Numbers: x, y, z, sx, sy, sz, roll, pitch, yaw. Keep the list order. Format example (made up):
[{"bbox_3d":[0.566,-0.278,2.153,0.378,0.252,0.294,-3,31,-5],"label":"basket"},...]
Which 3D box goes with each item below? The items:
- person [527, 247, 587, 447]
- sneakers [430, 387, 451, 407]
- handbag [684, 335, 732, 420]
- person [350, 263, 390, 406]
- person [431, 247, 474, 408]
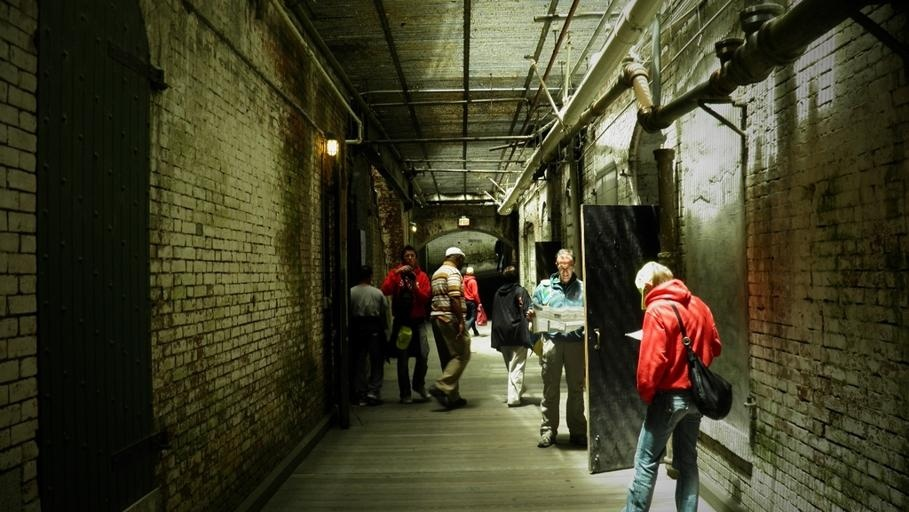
[{"bbox_3d":[1.198,1.056,7.987,0.695,2.215,0.607,2,7,23],"label":"person"},{"bbox_3d":[-0.182,1.893,9.579,0.092,0.272,0.193,-37,10,36],"label":"sneakers"},{"bbox_3d":[2.094,0.994,5.870,0.379,0.651,0.199,3,7,27],"label":"handbag"},{"bbox_3d":[-1.212,1.099,9.885,0.567,1.915,0.419,-5,8,-33],"label":"person"},{"bbox_3d":[-0.059,0.992,9.721,0.543,2.124,0.675,-1,6,-1],"label":"person"}]
